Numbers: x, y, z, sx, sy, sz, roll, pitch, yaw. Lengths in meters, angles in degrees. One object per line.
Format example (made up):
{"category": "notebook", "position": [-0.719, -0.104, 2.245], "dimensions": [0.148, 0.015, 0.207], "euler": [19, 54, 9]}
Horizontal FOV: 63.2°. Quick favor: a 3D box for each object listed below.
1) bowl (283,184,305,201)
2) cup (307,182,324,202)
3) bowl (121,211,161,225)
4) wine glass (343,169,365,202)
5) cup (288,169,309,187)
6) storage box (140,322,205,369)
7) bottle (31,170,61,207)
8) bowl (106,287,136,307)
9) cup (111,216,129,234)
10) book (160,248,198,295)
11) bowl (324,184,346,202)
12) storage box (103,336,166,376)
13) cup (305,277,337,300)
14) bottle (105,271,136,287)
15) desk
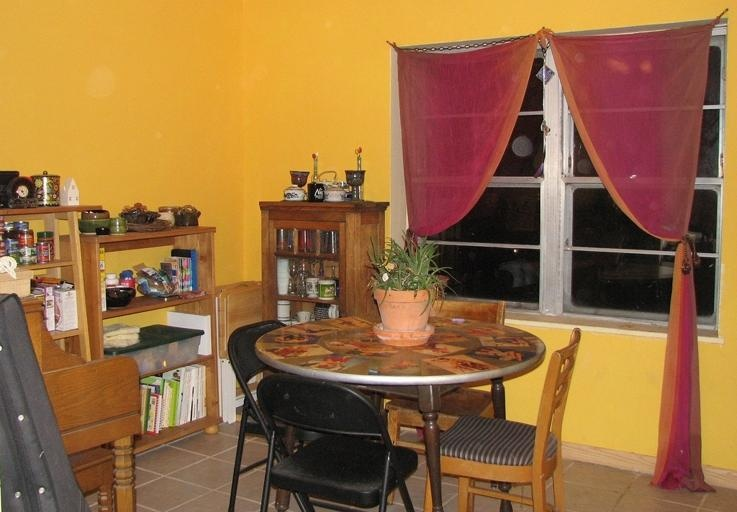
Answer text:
{"category": "bowl", "position": [-0.569, -0.492, 4.668], "dimensions": [0.163, 0.128, 0.151], "euler": [-2, 5, 0]}
{"category": "cup", "position": [-0.395, -0.496, 4.599], "dimensions": [0.141, 0.146, 0.135], "euler": [1, 4, 0]}
{"category": "bowl", "position": [-1.597, -0.266, 4.221], "dimensions": [0.140, 0.054, 0.131], "euler": [0, -2, 0]}
{"category": "wine glass", "position": [-0.087, -0.549, 4.588], "dimensions": [0.214, 0.255, 0.188], "euler": [-1, 7, -3]}
{"category": "cup", "position": [-0.539, -0.605, 4.728], "dimensions": [0.136, 0.137, 0.130], "euler": [-2, 5, 0]}
{"category": "storage box", "position": [-1.423, 0.648, 4.323], "dimensions": [0.319, 0.152, 0.323], "euler": [2, 3, 42]}
{"category": "bottle", "position": [-1.978, -0.415, 3.705], "dimensions": [0.206, 0.211, 0.203], "euler": [0, -2, -5]}
{"category": "bowl", "position": [-1.663, 0.278, 4.010], "dimensions": [0.141, 0.079, 0.140], "euler": [0, -7, 0]}
{"category": "cup", "position": [-1.656, -0.207, 4.004], "dimensions": [0.105, 0.104, 0.104], "euler": [0, -3, 0]}
{"category": "book", "position": [-1.390, 0.127, 4.456], "dimensions": [0.309, 0.406, 0.224], "euler": [3, 9, 36]}
{"category": "bowl", "position": [-0.251, -0.467, 4.496], "dimensions": [0.133, 0.105, 0.132], "euler": [1, 0, 0]}
{"category": "storage box", "position": [-1.624, 0.662, 4.204], "dimensions": [0.384, 0.173, 0.544], "euler": [3, 5, 24]}
{"category": "cup", "position": [-0.365, 0.238, 4.535], "dimensions": [0.185, 0.112, 0.183], "euler": [1, 0, 0]}
{"category": "bottle", "position": [-1.699, 0.156, 4.137], "dimensions": [0.181, 0.171, 0.108], "euler": [1, 2, 27]}
{"category": "desk", "position": [0.158, 0.520, 2.995], "dimensions": [1.239, 0.750, 1.185], "euler": [0, 3, 16]}
